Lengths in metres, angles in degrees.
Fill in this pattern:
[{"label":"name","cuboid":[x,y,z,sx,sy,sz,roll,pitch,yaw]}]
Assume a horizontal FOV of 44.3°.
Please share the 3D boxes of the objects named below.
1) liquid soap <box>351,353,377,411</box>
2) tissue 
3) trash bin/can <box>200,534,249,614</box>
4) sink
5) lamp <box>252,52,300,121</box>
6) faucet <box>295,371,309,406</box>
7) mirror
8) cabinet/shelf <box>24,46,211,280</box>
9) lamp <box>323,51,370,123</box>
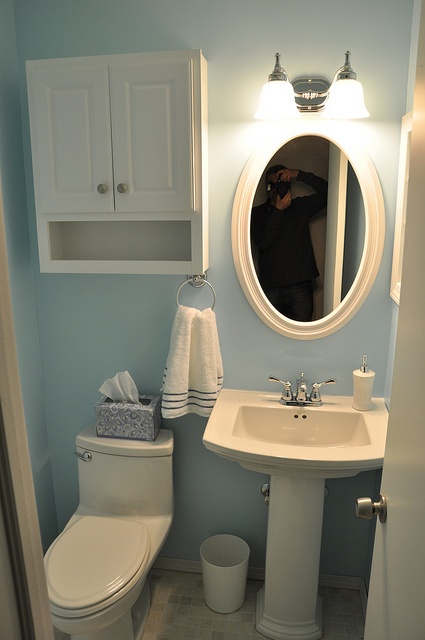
[{"label":"liquid soap","cuboid":[0.517,0.210,1.772,0.075,0.186,0.078,-7,17,-10]},{"label":"tissue ","cuboid":[-0.299,0.317,1.924,0.205,0.211,0.110,2,21,1]},{"label":"trash bin/can","cuboid":[0.047,0.955,1.965,0.170,0.197,0.174,8,16,33]},{"label":"sink","cuboid":[0.285,0.384,1.704,0.586,0.135,0.490,1,14,10]},{"label":"lamp","cuboid":[0.211,-0.723,1.627,0.106,0.188,0.142,9,17,37]},{"label":"faucet","cuboid":[0.310,0.244,1.800,0.048,0.124,0.081,1,5,5]},{"label":"mirror","cuboid":[0.333,-0.239,1.802,0.523,0.783,0.025,0,36,9]},{"label":"cabinet/shelf","cuboid":[-0.282,-0.512,1.639,0.695,0.878,0.251,1,15,6]},{"label":"lamp","cuboid":[0.412,-0.717,1.592,0.162,0.189,0.169,0,22,1]}]
